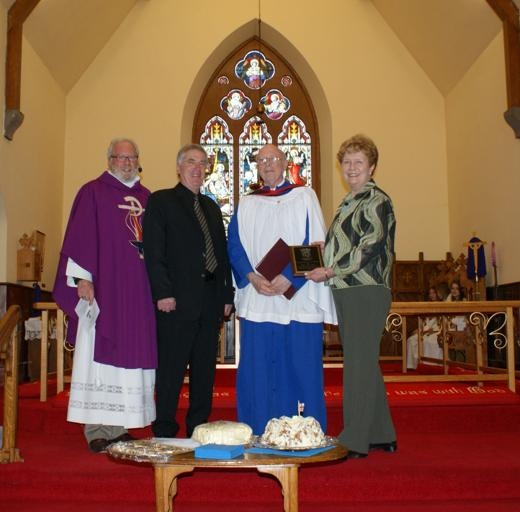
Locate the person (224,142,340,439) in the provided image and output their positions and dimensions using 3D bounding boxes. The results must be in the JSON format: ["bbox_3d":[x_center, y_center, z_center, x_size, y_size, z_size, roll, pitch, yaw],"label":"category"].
[{"bbox_3d":[0.103,0.220,3.880,0.451,1.775,0.434,1,21,7],"label":"person"}]

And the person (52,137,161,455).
[{"bbox_3d":[-0.922,0.144,3.946,0.600,1.718,0.268,2,-10,-20],"label":"person"}]

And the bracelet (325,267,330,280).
[{"bbox_3d":[0.380,0.097,3.683,0.026,0.049,0.021,0,3,10],"label":"bracelet"}]

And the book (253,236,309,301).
[{"bbox_3d":[0.091,0.050,3.898,0.285,0.299,0.072,42,-3,1],"label":"book"}]
